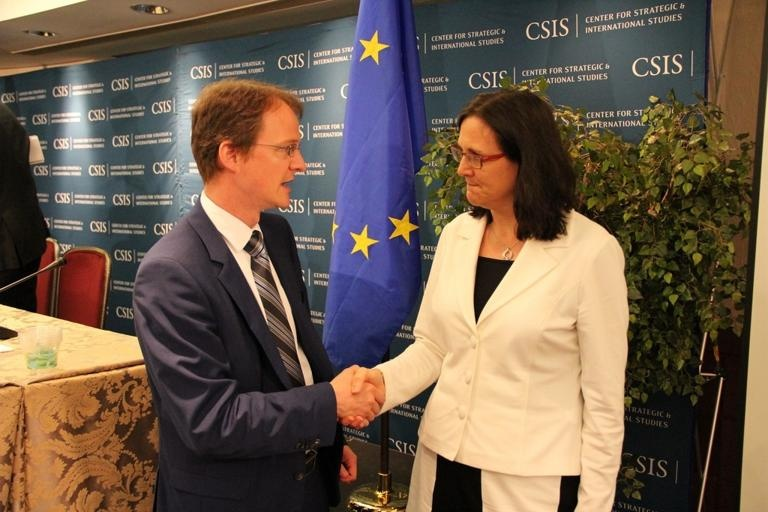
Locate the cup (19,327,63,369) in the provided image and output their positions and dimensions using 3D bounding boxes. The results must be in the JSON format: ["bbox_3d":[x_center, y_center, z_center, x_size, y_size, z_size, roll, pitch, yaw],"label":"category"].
[{"bbox_3d":[-1.528,0.413,2.685,0.163,0.185,0.170,1,-1,0],"label":"cup"}]

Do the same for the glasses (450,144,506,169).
[{"bbox_3d":[0.376,-0.378,2.325,0.138,0.041,0.135,-7,17,-38],"label":"glasses"}]
